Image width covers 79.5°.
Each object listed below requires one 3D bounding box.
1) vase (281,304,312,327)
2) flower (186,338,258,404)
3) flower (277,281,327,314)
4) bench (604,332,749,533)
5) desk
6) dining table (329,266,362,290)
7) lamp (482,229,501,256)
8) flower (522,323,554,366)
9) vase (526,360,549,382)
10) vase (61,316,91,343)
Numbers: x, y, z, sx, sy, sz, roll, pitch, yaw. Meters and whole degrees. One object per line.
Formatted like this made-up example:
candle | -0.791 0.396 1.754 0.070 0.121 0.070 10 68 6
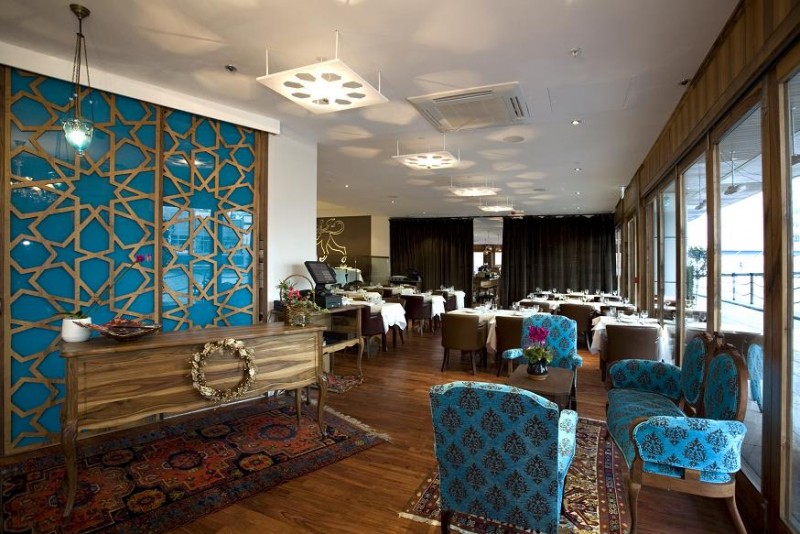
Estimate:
vase | -1.087 0.498 5.452 0.389 0.361 0.205 0 -3 1
flower | -1.683 0.995 4.703 0.582 0.578 0.129 12 -6 -37
flower | -1.174 0.377 5.647 0.482 0.354 0.508 -4 -3 10
bench | 2.476 1.528 4.331 0.687 0.994 1.689 0 -1 18
desk | -2.030 1.495 4.755 1.777 0.937 0.629 0 2 -40
dining table | -1.473 0.268 13.977 0.335 0.632 0.924 9 0 -27
lamp | 3.760 -1.038 19.576 0.720 0.743 0.703 0 -8 2
flower | 1.456 0.813 5.135 0.267 0.369 0.272 4 13 14
vase | 1.440 1.078 5.095 0.201 0.180 0.196 3 -2 -15
vase | -2.953 0.569 4.516 0.240 0.221 0.236 3 -5 -30
